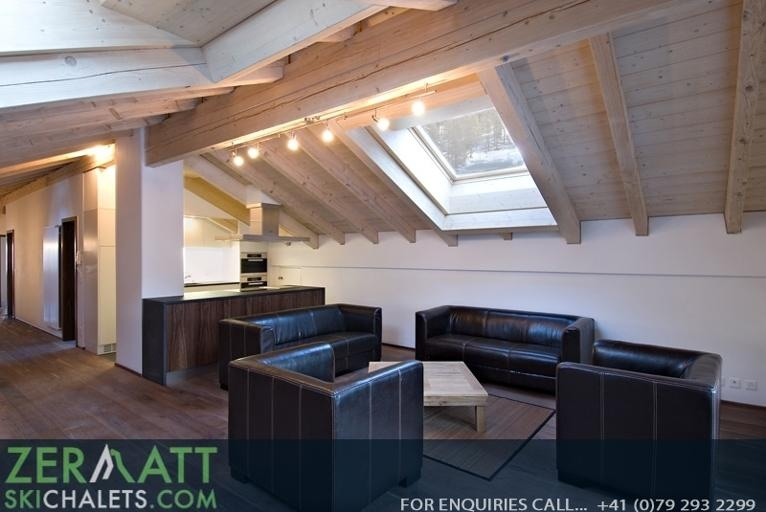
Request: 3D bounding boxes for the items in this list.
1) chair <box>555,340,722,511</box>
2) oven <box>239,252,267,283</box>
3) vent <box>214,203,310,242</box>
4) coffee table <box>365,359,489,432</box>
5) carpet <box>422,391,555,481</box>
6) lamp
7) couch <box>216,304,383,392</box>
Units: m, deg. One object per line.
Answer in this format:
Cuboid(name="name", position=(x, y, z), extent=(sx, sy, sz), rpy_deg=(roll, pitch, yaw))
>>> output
Cuboid(name="chair", position=(2.411, 1.421, 4.432), extent=(1.496, 0.888, 1.476), rpy_deg=(-3, 1, 28))
Cuboid(name="oven", position=(-2.578, 0.215, 9.424), extent=(0.305, 0.527, 0.631), rpy_deg=(-4, -6, 34))
Cuboid(name="vent", position=(-1.958, -0.584, 8.079), extent=(1.625, 0.460, 1.561), rpy_deg=(10, 10, 22))
Cuboid(name="coffee table", position=(0.462, 1.376, 5.215), extent=(1.253, 0.205, 1.143), rpy_deg=(0, 12, -20))
Cuboid(name="carpet", position=(0.939, 1.789, 4.879), extent=(0.980, 0.231, 1.346), rpy_deg=(-4, 1, 41))
Cuboid(name="lamp", position=(-0.834, -1.462, 5.837), extent=(1.089, 0.331, 3.739), rpy_deg=(-5, 1, -44))
Cuboid(name="couch", position=(-1.071, 1.447, 6.378), extent=(2.190, 0.802, 0.975), rpy_deg=(1, -2, -45))
